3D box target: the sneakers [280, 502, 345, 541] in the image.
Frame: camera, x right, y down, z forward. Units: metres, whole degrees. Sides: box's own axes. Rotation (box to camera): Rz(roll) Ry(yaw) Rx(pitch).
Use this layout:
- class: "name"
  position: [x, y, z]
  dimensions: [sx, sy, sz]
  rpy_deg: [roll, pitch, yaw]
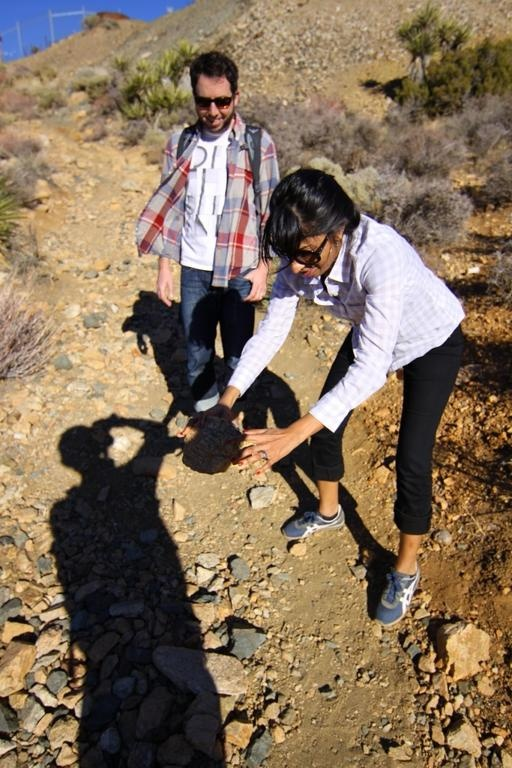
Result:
- class: "sneakers"
  position: [0.267, 0.728, 3.213]
  dimensions: [0.399, 0.163, 0.139]
  rpy_deg: [-9, 55, 20]

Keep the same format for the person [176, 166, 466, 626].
- class: "person"
  position: [0.362, 0.112, 2.605]
  dimensions: [1.040, 1.966, 0.769]
  rpy_deg: [8, 35, 7]

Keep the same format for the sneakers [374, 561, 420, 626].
- class: "sneakers"
  position: [0.642, 0.934, 2.867]
  dimensions: [0.121, 0.135, 0.344]
  rpy_deg: [2, 43, 48]

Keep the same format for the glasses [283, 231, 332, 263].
- class: "glasses"
  position: [0.184, -0.475, 2.157]
  dimensions: [0.097, 0.028, 0.098]
  rpy_deg: [15, 43, 34]

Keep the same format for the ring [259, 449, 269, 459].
- class: "ring"
  position: [0.032, 0.261, 2.341]
  dimensions: [0.011, 0.035, 0.035]
  rpy_deg: [-32, 43, -15]
